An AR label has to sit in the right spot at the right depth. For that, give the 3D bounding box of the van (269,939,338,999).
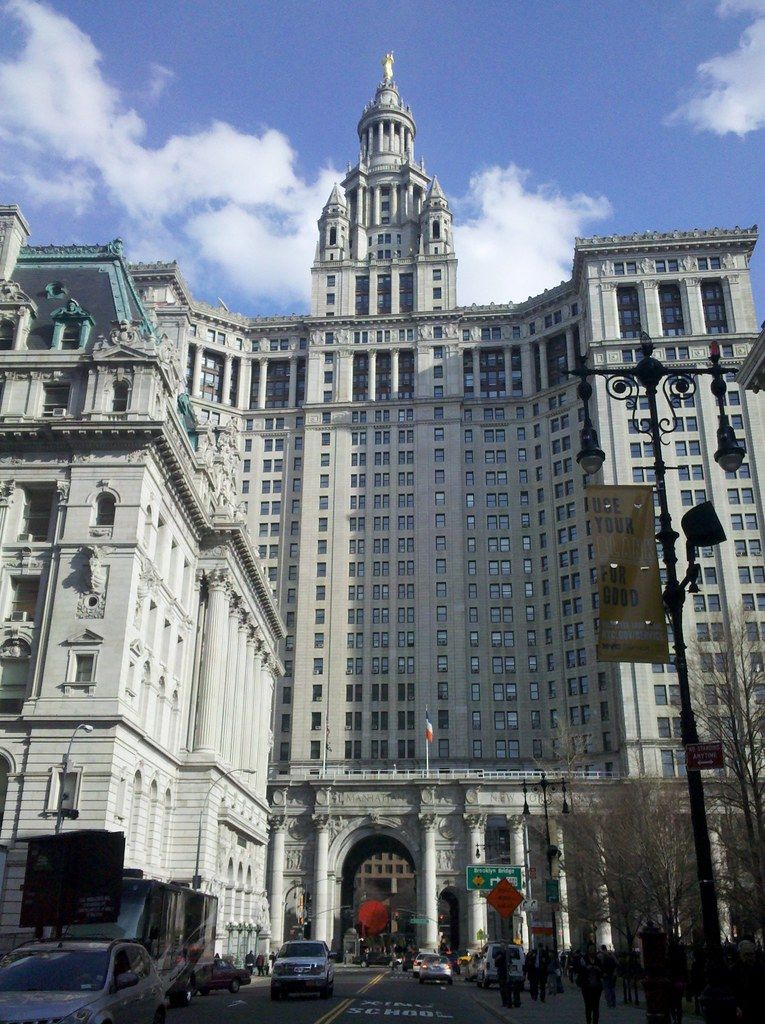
[{"bbox_3d":[-2.584,15.413,28.555,1.363,1.173,2.857,-1,-36,0],"label":"van"}]

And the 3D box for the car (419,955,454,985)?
[{"bbox_3d":[3.070,26.269,48.124,1.772,1.254,2.196,1,-21,-2],"label":"car"}]
